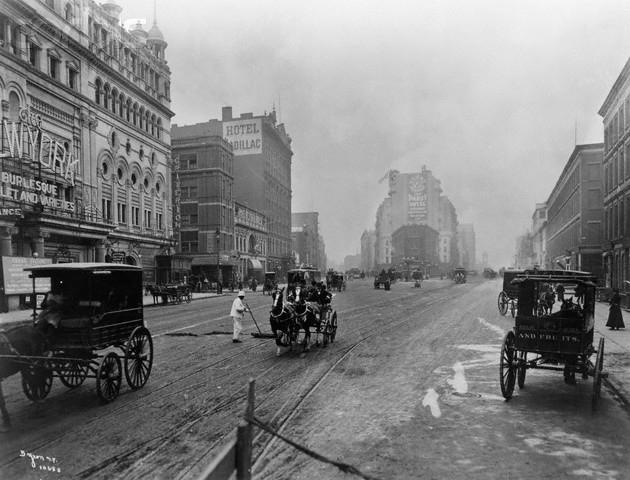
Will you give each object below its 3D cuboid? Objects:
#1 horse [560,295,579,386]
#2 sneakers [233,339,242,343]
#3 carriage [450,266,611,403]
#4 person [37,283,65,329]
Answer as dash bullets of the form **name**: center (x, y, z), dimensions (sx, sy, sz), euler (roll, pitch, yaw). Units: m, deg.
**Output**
- **horse**: center (6.663, 2.698, 15.312), dimensions (0.401, 2.544, 0.477), euler (-6, 4, 6)
- **sneakers**: center (-2.743, 3.599, 21.061), dimensions (0.326, 0.177, 0.124), euler (0, 0, -3)
- **carriage**: center (6.398, 2.578, 16.506), dimensions (2.205, 3.896, 3.945), euler (-1, -12, 24)
- **person**: center (-6.668, 1.636, 15.103), dimensions (0.612, 0.947, 1.615), euler (-2, 6, -24)
